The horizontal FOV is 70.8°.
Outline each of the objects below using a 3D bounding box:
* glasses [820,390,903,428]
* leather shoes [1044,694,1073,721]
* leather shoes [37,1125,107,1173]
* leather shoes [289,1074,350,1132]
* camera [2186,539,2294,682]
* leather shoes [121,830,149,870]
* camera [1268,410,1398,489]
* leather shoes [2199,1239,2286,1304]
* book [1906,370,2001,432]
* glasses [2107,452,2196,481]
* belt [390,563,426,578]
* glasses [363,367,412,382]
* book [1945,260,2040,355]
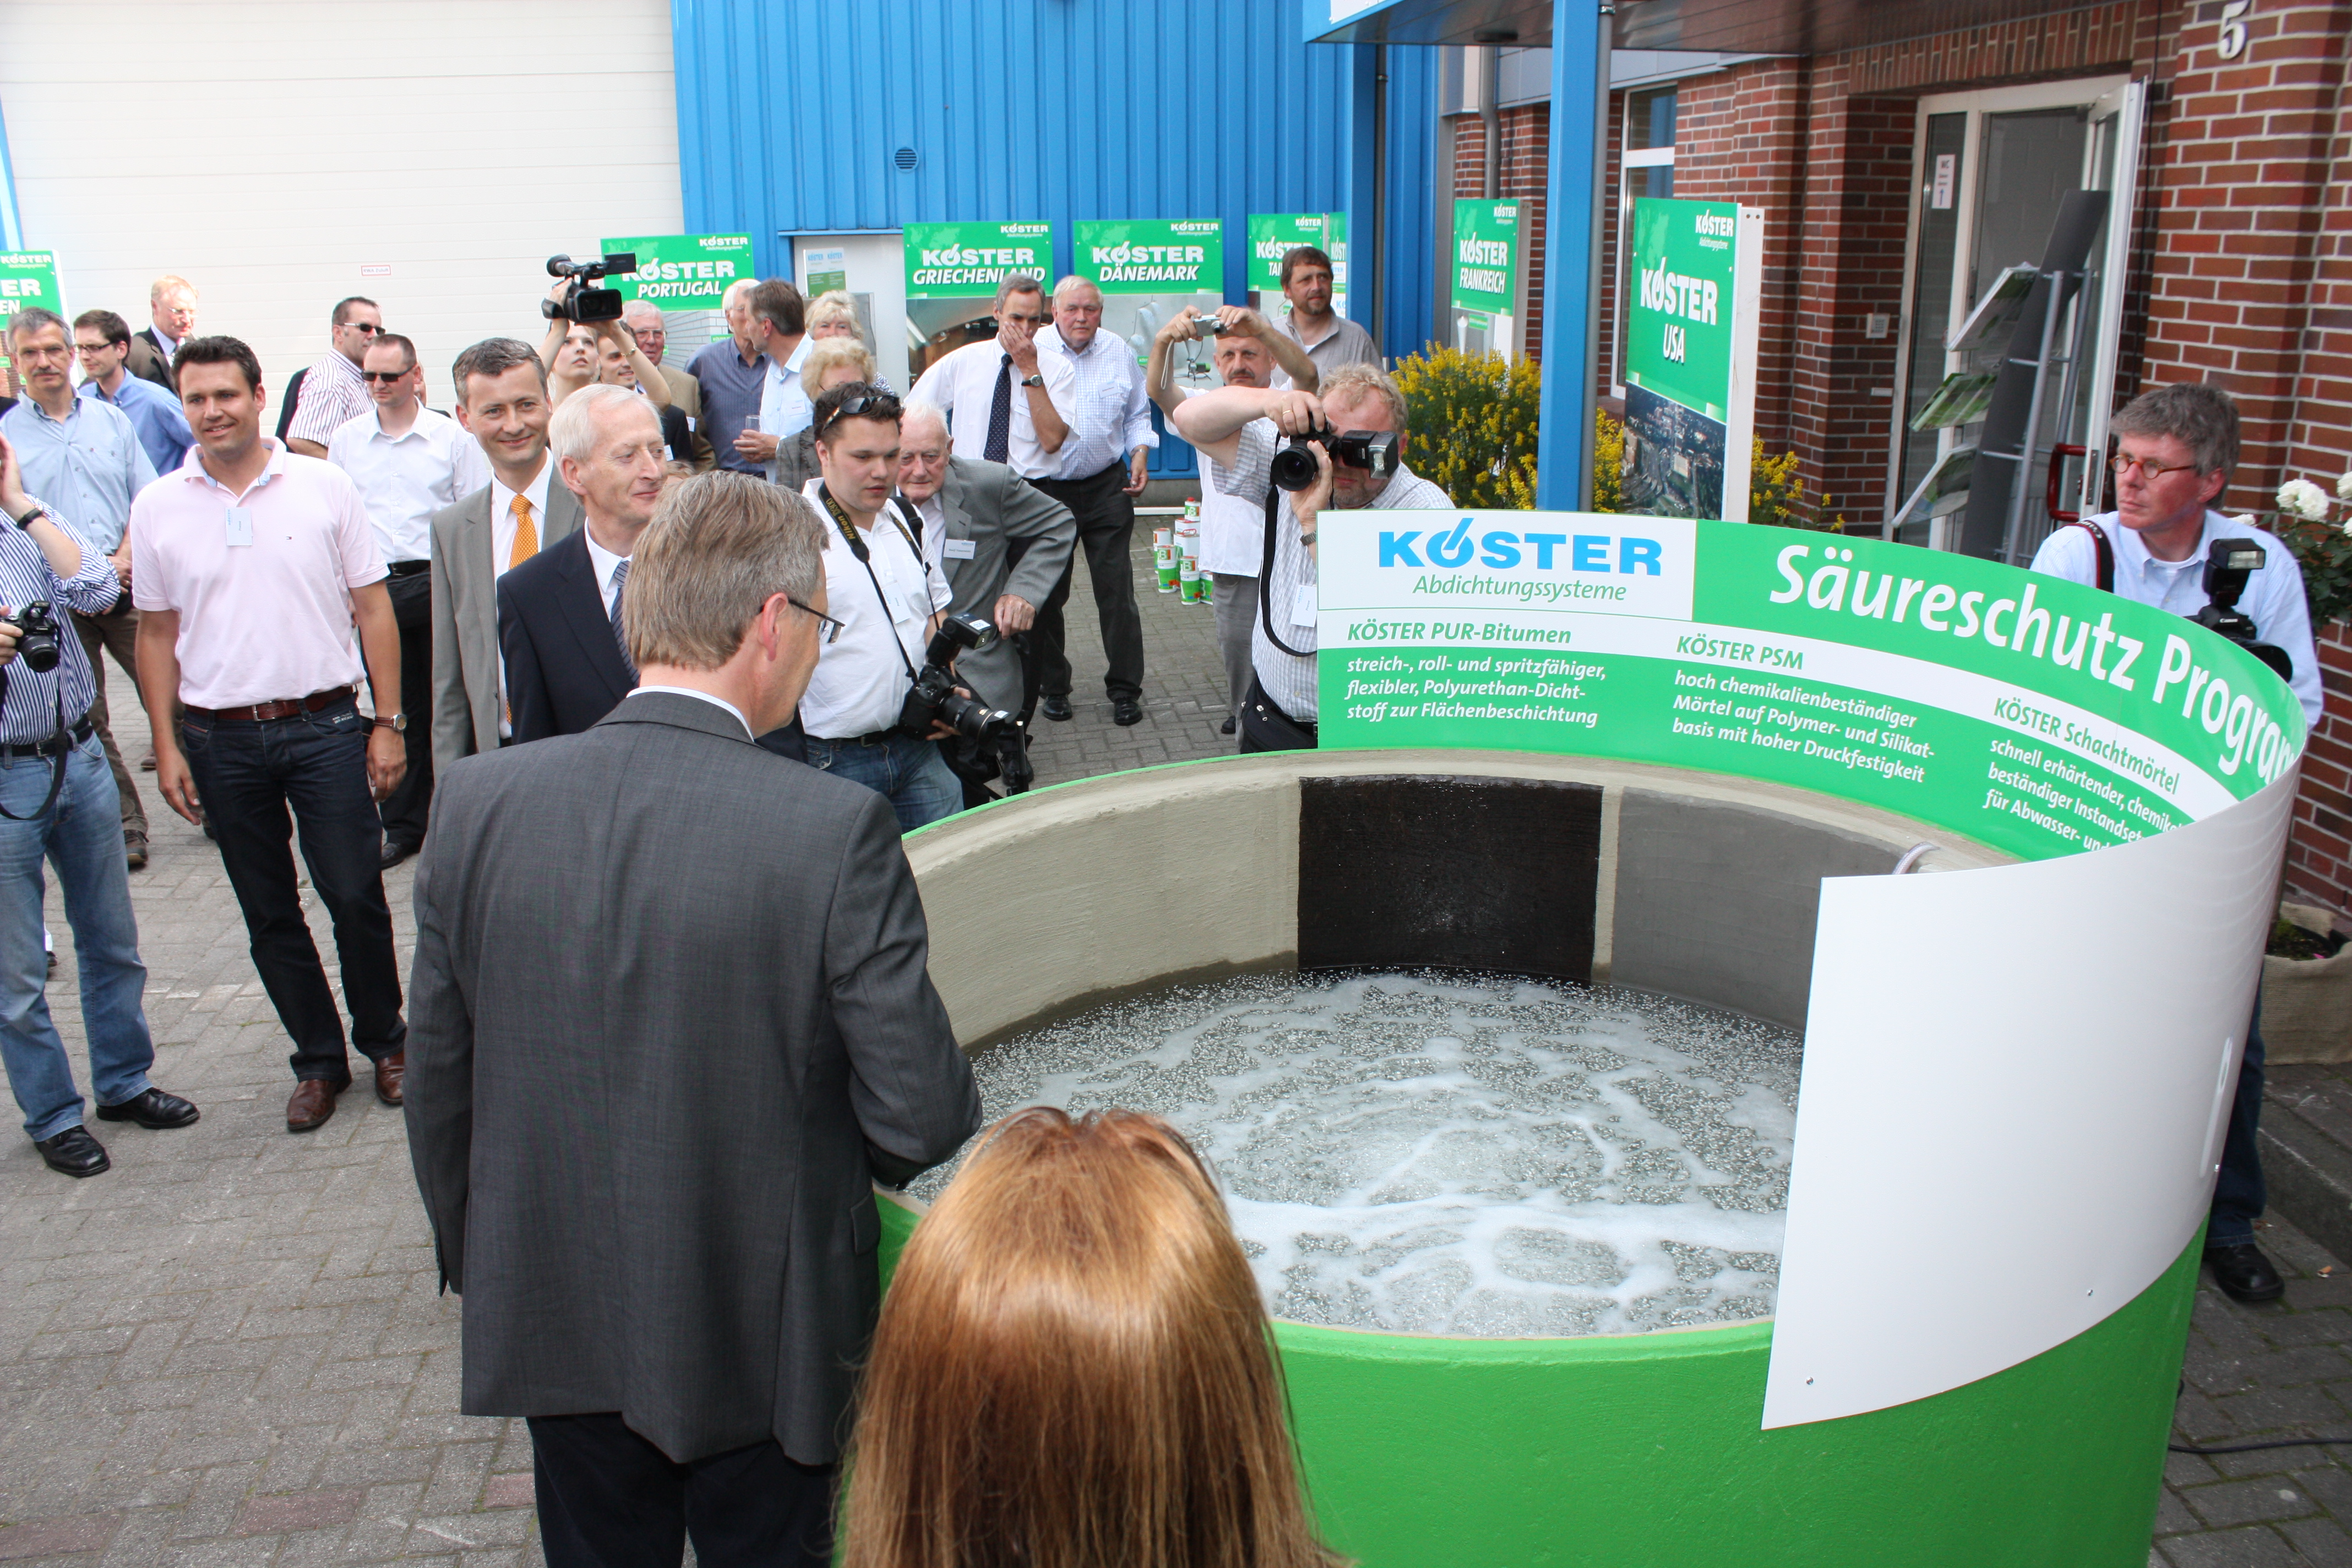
[{"bbox_3d":[-1.099,-1.293,5.712,0.170,0.086,0.198,-5,9,-15],"label":"glasses"},{"bbox_3d":[-0.746,-0.498,10.598,0.150,0.151,0.153,8,24,15],"label":"leather shoes"},{"bbox_3d":[-4.036,1.353,6.067,0.321,0.135,0.121,3,8,18],"label":"leather shoes"},{"bbox_3d":[-3.280,1.218,6.348,0.098,0.128,0.300,2,4,-6],"label":"leather shoes"},{"bbox_3d":[3.125,-0.520,4.913,0.140,0.399,0.480,0,12,9],"label":"camera"},{"bbox_3d":[-5.457,0.344,8.723,0.089,0.160,0.299,-12,21,-29],"label":"leather shoes"},{"bbox_3d":[0.540,-1.141,5.720,0.317,0.138,0.241,8,37,32],"label":"camera"},{"bbox_3d":[3.254,1.486,5.139,0.150,0.125,0.304,-12,5,-10],"label":"leather shoes"},{"bbox_3d":[3.590,-1.780,7.683,0.284,0.129,0.383,11,-21,0],"label":"book"},{"bbox_3d":[3.054,-0.988,5.159,0.202,0.075,0.055,8,20,29],"label":"glasses"},{"bbox_3d":[-3.809,-1.073,8.236,0.111,0.046,0.114,0,12,4],"label":"belt"},{"bbox_3d":[-3.800,-1.985,8.019,0.195,0.082,0.112,-10,19,-22],"label":"glasses"},{"bbox_3d":[3.738,-2.151,7.505,0.291,0.349,1.006,7,20,25],"label":"book"}]
